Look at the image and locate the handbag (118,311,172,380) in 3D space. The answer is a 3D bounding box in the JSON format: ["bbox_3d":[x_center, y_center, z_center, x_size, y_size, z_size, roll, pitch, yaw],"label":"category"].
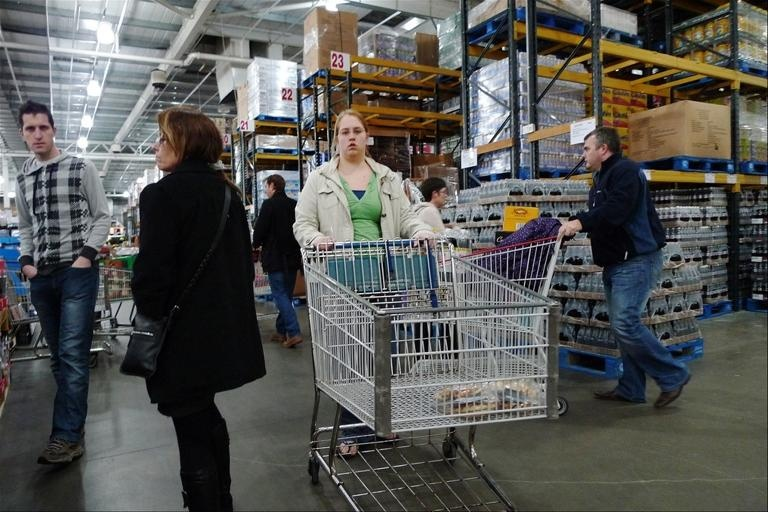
[{"bbox_3d":[-1.382,0.519,3.170,0.294,0.363,0.121,11,-6,21],"label":"handbag"}]

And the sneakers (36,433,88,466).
[{"bbox_3d":[-2.444,1.502,4.172,0.157,0.168,0.385,-4,-15,14],"label":"sneakers"}]

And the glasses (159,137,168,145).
[{"bbox_3d":[-1.346,-0.699,3.335,0.052,0.033,0.048,11,-20,-25],"label":"glasses"}]

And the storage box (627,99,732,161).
[{"bbox_3d":[4.365,-1.748,8.136,1.215,0.651,1.189,-4,5,-38],"label":"storage box"}]

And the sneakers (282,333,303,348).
[{"bbox_3d":[-1.191,1.109,7.108,0.138,0.137,0.329,-9,4,-21],"label":"sneakers"}]

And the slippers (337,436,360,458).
[{"bbox_3d":[-0.267,1.431,4.087,0.183,0.162,0.214,2,-14,-9],"label":"slippers"}]

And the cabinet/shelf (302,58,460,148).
[{"bbox_3d":[-0.028,-2.453,9.997,1.980,1.633,0.666,15,36,13],"label":"cabinet/shelf"}]

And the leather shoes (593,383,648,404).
[{"bbox_3d":[2.214,1.288,5.152,0.550,0.192,0.169,2,-5,19],"label":"leather shoes"}]

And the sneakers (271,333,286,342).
[{"bbox_3d":[-1.430,1.122,7.465,0.207,0.118,0.091,7,4,18],"label":"sneakers"}]

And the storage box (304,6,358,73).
[{"bbox_3d":[-0.911,-3.682,9.395,0.962,1.127,0.760,-3,12,-5],"label":"storage box"}]

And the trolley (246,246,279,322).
[{"bbox_3d":[-2.081,0.548,9.464,0.868,1.021,0.932,0,-3,-13],"label":"trolley"}]
